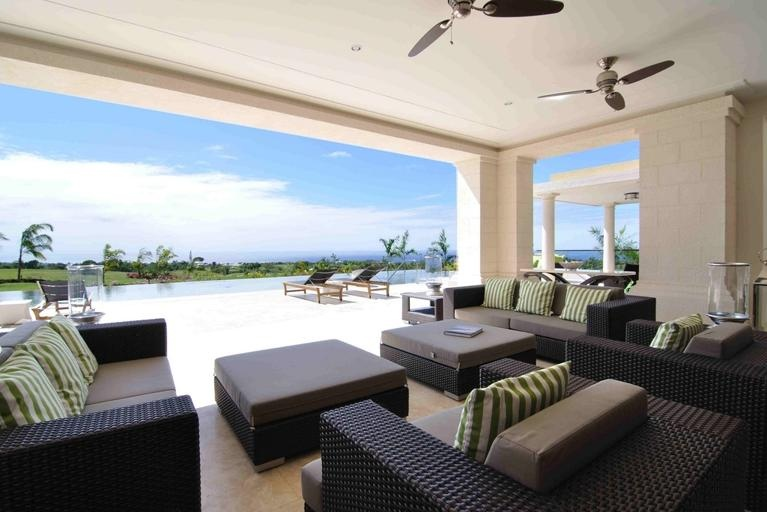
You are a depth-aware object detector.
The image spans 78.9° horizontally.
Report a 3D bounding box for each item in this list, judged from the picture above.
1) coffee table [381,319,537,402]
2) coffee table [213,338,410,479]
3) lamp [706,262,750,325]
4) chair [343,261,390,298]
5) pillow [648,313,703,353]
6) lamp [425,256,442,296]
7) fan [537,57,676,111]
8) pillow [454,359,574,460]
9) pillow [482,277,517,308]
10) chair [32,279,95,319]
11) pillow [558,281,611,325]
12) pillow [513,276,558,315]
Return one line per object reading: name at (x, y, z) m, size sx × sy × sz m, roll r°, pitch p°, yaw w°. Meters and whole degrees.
coffee table at (0.843, 0.914, 4.525) m, size 0.911 × 0.273 × 0.920 m, roll -4°, pitch 5°, yaw -34°
coffee table at (-0.818, 1.101, 3.828) m, size 1.143 × 0.356 × 1.003 m, roll -3°, pitch 4°, yaw -36°
lamp at (3.260, 0.327, 4.390) m, size 0.315 × 0.540 × 0.798 m, roll -2°, pitch -3°, yaw 36°
chair at (-0.382, 0.552, 10.711) m, size 0.491 × 0.481 × 1.437 m, roll -1°, pitch 3°, yaw -27°
pillow at (2.304, 0.625, 3.652) m, size 0.552 × 0.298 × 0.186 m, roll 0°, pitch 20°, yaw -44°
lamp at (0.732, 0.267, 6.801) m, size 0.251 × 0.568 × 0.605 m, roll 0°, pitch -2°, yaw 5°
fan at (2.789, -2.008, 5.288) m, size 0.944 × 0.183 × 0.785 m, roll 3°, pitch -11°, yaw -24°
pillow at (0.764, 0.893, 2.680) m, size 0.714 × 0.378 × 0.206 m, roll -5°, pitch 14°, yaw -37°
pillow at (1.481, 0.480, 5.928) m, size 0.204 × 0.297 × 0.404 m, roll -3°, pitch -1°, yaw -42°
chair at (-5.278, 0.670, 7.353) m, size 0.413 × 0.553 × 1.973 m, roll 1°, pitch -3°, yaw -35°
pillow at (2.188, 0.525, 5.146) m, size 0.137 × 0.378 × 0.449 m, roll 25°, pitch -13°, yaw -31°
pillow at (1.825, 0.501, 5.641) m, size 0.252 × 0.371 × 0.481 m, roll -15°, pitch 9°, yaw -36°
